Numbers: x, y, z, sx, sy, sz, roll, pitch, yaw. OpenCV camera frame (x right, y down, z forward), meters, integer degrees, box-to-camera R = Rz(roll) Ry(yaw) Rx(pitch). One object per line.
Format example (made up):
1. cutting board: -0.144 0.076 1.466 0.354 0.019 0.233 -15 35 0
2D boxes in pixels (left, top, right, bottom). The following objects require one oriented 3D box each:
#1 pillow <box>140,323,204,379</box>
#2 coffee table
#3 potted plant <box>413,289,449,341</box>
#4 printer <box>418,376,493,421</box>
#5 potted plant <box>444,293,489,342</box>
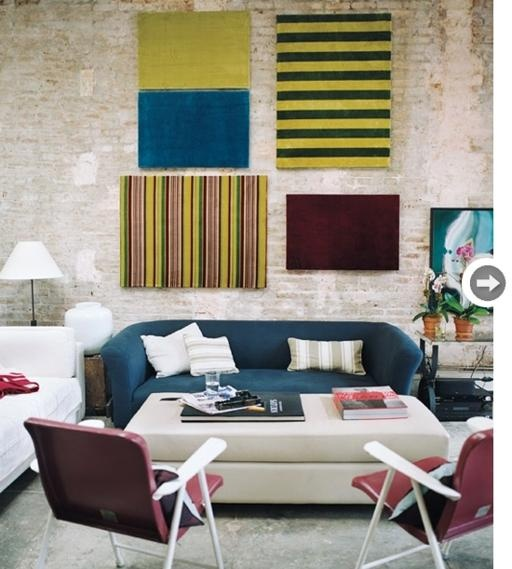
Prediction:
1. pillow: -0.609 0.487 5.073 0.326 0.329 0.096 -15 -14 -44
2. coffee table: 1.491 0.771 5.247 0.563 0.559 0.418 0 -13 1
3. potted plant: 1.298 0.215 5.274 0.228 0.335 0.211 1 7 0
4. printer: 1.438 0.812 5.096 0.456 0.294 0.456 0 4 8
5. potted plant: 1.484 0.235 5.092 0.243 0.280 0.333 -1 9 1
